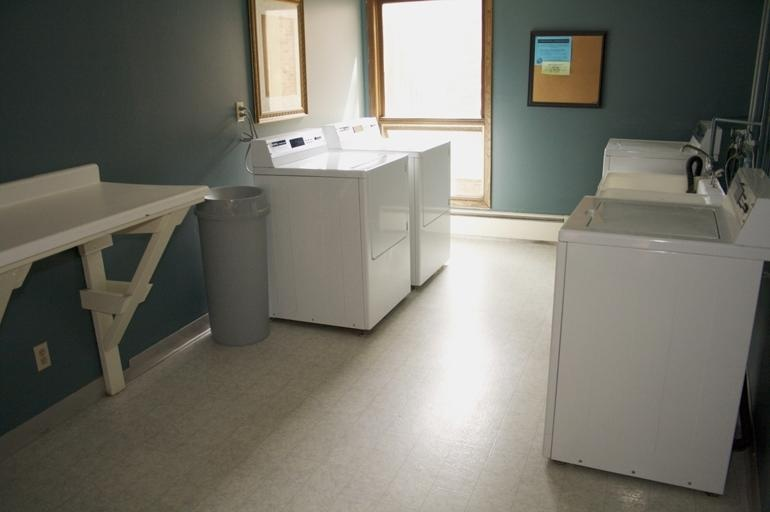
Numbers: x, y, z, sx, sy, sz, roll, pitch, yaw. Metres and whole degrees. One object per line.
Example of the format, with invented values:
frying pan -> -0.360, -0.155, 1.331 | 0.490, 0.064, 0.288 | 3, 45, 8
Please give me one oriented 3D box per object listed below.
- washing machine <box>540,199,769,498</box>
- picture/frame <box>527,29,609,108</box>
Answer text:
washing machine -> 1.377, 0.293, 3.299 | 1.202, 1.842, 1.306 | 3, 18, 21
picture/frame -> 1.819, -1.859, 4.991 | 0.700, 0.745, 0.059 | 7, 16, 25
